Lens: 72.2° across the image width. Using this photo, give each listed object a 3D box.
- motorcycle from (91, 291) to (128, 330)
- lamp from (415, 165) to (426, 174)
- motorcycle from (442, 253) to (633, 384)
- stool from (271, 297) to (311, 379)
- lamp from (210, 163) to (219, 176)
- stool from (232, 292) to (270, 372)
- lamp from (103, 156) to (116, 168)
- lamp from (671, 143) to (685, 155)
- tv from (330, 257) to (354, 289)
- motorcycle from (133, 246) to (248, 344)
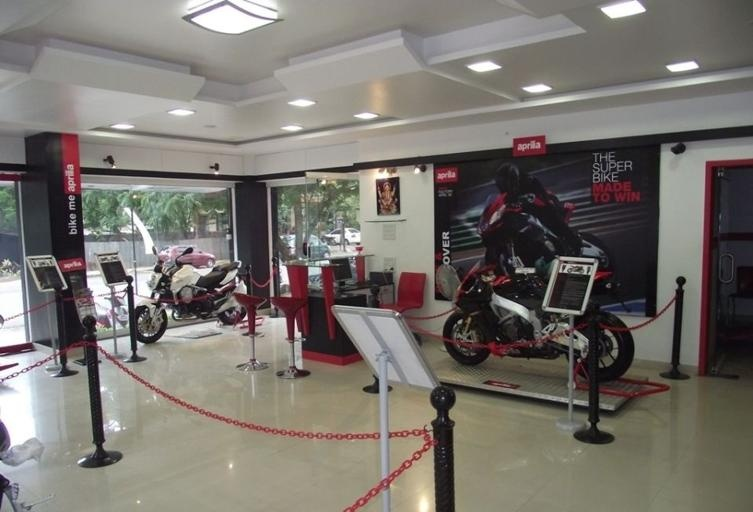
[{"bbox_3d":[-4.954,1.079,9.699,0.532,0.692,1.762,-5,4,-28],"label":"motorcycle"},{"bbox_3d":[0.773,-1.566,9.262,0.237,0.155,0.164,-2,4,22],"label":"lamp"},{"bbox_3d":[2.032,0.788,7.067,0.953,1.427,2.811,1,-5,-43],"label":"motorcycle"},{"bbox_3d":[-1.320,1.155,7.937,0.495,1.161,1.145,-4,4,-8],"label":"stool"},{"bbox_3d":[-3.465,-1.887,11.140,0.120,0.243,0.250,0,5,43],"label":"lamp"},{"bbox_3d":[-2.048,1.118,8.297,0.485,1.177,1.347,-5,4,-15],"label":"stool"},{"bbox_3d":[-4.978,-1.776,9.663,0.222,0.229,0.200,-6,5,-39],"label":"lamp"},{"bbox_3d":[4.276,-1.518,7.338,0.189,0.126,0.060,-19,-7,9],"label":"lamp"},{"bbox_3d":[-0.600,0.285,8.676,0.147,0.360,0.556,-1,0,21],"label":"tv"},{"bbox_3d":[-3.542,0.730,10.000,0.992,1.560,2.675,-8,-1,32],"label":"motorcycle"}]
